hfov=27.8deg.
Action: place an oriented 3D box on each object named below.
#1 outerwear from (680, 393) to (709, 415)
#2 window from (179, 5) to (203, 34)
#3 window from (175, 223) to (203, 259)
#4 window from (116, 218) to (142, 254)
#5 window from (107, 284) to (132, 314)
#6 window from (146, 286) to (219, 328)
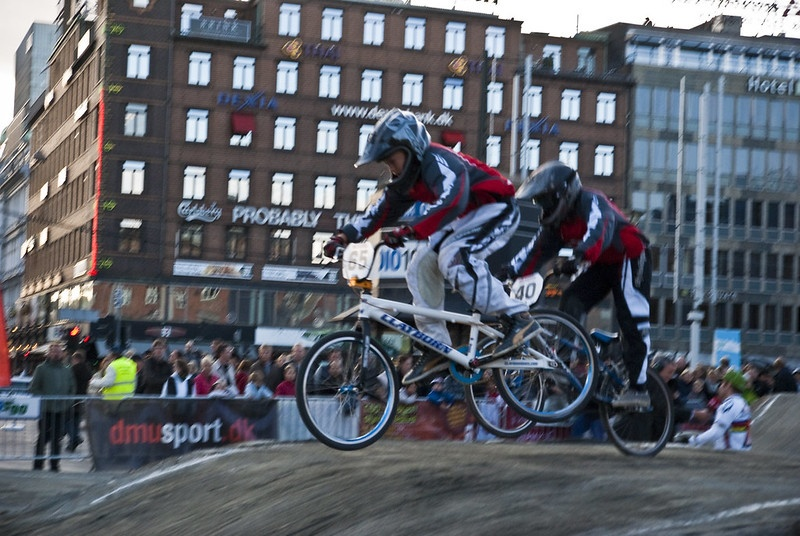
[{"bbox_3d":[12.088,5.520,66.192,0.939,0.755,0.615,-2,-9,10],"label":"outerwear"},{"bbox_3d":[-13.287,-15.767,102.765,0.788,1.813,1.722,5,17,34],"label":"window"},{"bbox_3d":[-13.129,-1.694,101.643,1.419,2.077,1.543,-3,14,9],"label":"window"},{"bbox_3d":[-16.790,-1.981,100.896,1.487,2.017,1.087,-7,15,-6],"label":"window"},{"bbox_3d":[-17.272,1.866,99.871,1.210,1.616,1.451,0,15,20],"label":"window"},{"bbox_3d":[-13.357,2.292,101.382,4.780,2.640,2.350,4,-5,-15],"label":"window"}]
